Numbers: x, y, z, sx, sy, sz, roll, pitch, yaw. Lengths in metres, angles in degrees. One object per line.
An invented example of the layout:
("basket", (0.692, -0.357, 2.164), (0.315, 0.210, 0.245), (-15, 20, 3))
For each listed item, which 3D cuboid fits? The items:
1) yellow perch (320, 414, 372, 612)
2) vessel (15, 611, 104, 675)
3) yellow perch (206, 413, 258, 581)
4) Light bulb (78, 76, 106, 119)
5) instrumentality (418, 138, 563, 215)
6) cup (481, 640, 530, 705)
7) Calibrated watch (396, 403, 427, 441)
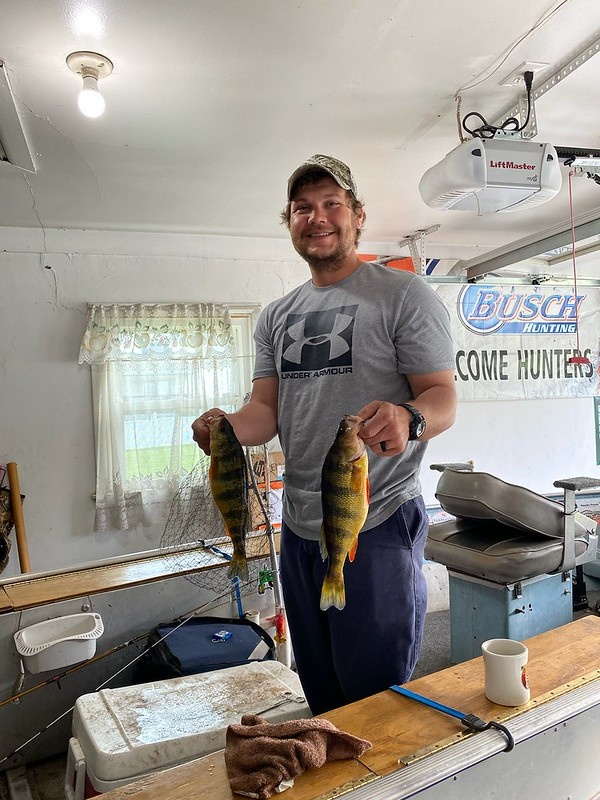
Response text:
("yellow perch", (0.080, 0.217, 1.087), (0.055, 0.334, 0.150), (-5, -2, -36))
("vessel", (-0.975, 0.996, 2.343), (0.327, 0.154, 0.255), (-5, -1, -28))
("yellow perch", (-0.147, 0.194, 1.265), (0.131, 0.368, 0.067), (-5, -2, 2))
("Light bulb", (-0.886, -1.294, 2.452), (0.105, 0.227, 0.102), (21, -52, -41))
("instrumentality", (0.931, -1.108, 2.920), (0.421, 0.183, 0.545), (-3, 6, -8))
("cup", (0.481, 0.630, 1.360), (0.098, 0.114, 0.157), (-2, 0, 18))
("Calibrated watch", (0.219, 0.047, 1.094), (0.050, 0.073, 0.070), (-8, 7, -31))
